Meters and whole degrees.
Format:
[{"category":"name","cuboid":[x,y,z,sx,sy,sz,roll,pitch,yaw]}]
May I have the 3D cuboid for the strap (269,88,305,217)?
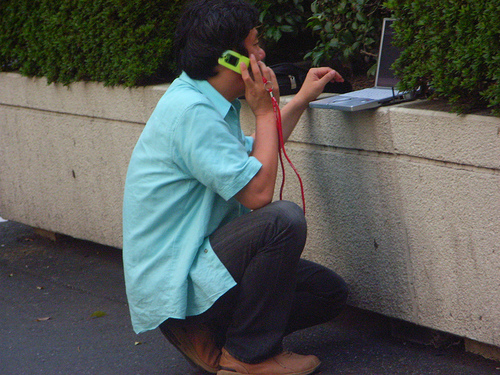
[{"category":"strap","cuboid":[0.178,-0.178,2.729,0.162,0.663,0.068,-17,6,-29]}]
